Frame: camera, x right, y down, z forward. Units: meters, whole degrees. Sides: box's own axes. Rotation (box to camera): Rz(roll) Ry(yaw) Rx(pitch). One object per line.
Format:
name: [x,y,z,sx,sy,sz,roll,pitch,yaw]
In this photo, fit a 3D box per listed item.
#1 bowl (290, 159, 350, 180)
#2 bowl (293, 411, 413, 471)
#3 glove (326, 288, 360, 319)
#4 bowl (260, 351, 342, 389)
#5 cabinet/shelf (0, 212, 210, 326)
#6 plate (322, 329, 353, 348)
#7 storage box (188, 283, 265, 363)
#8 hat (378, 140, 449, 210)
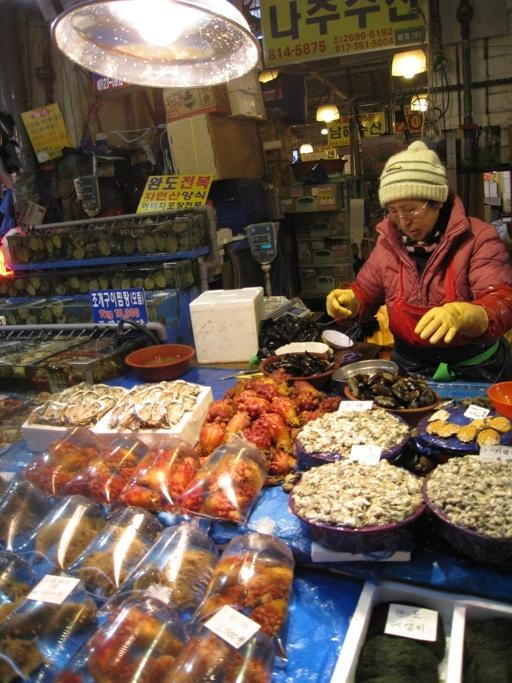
bowl: [0.781,-2.211,6.639,0.502,0.178,0.502,0,9,0]
bowl: [0.264,0.260,1.436,0.228,0.073,0.195,-7,12,-18]
glove: [0.461,-0.196,2.728,0.143,0.180,0.181,21,21,5]
bowl: [0.184,0.106,2.121,0.202,0.068,0.202,-3,12,1]
cabinet/shelf: [-1.063,-0.516,3.753,1.072,0.875,0.340,0,9,18]
plate: [0.408,-0.013,2.565,0.112,0.023,0.101,1,33,-8]
storage box: [-0.107,-0.128,2.958,0.450,0.379,0.422,0,21,6]
hat: [0.711,-0.749,2.394,0.311,0.264,0.313,2,11,37]
